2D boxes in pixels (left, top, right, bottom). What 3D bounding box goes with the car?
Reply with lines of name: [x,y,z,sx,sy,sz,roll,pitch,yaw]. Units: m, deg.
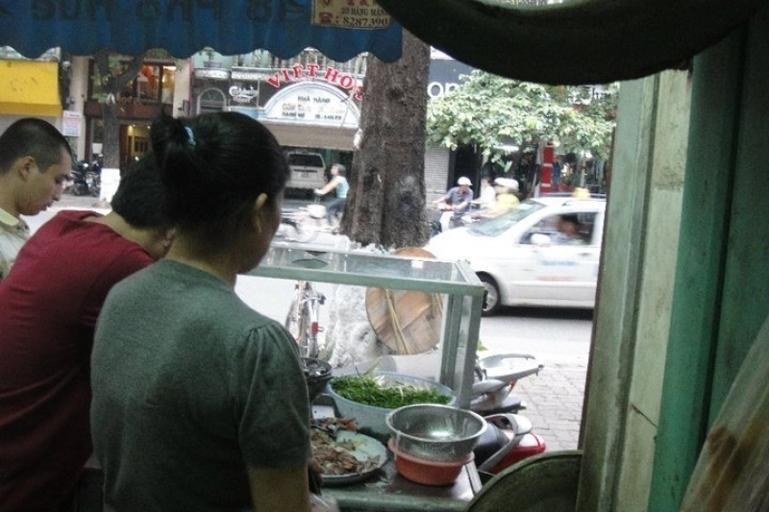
car: [1.880,-0.095,9.380,2.328,1.156,1.522,2,4,-2]

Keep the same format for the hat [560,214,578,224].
hat: [2.515,-0.506,9.199,0.153,0.107,0.153,5,2,8]

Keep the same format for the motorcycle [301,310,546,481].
motorcycle: [0.348,0.895,3.725,1.239,0.750,0.753,-2,7,-24]

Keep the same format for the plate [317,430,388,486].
plate: [-0.117,0.848,2.819,0.232,0.114,0.354,3,7,8]

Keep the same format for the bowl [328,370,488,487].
bowl: [0.140,0.706,2.883,0.356,0.167,0.458,-4,10,-37]

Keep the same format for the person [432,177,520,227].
person: [1.693,-0.907,12.106,1.083,0.386,1.091,-1,9,36]
